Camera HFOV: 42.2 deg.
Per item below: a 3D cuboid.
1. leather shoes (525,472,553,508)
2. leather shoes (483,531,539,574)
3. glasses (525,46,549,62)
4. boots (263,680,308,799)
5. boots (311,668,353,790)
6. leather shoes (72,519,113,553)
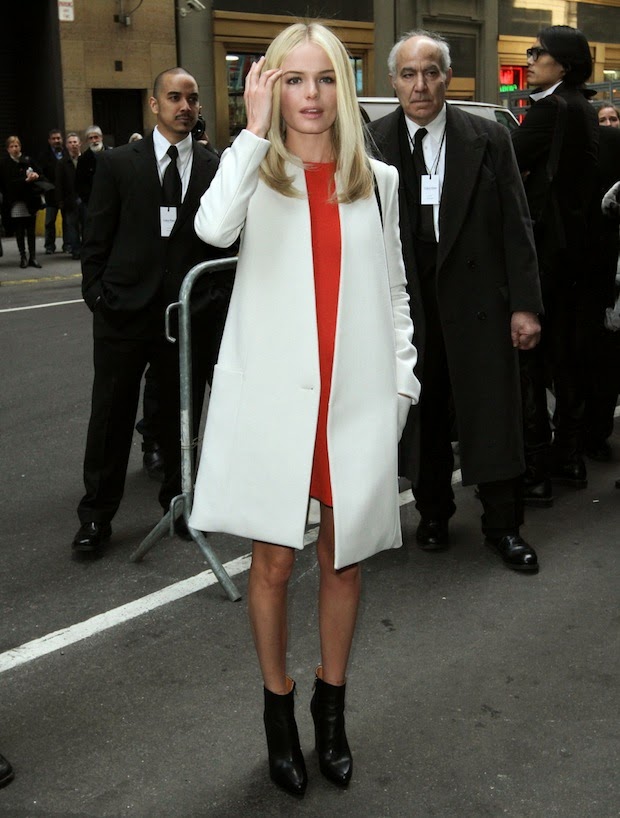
[{"bbox_3d":[1.217,0.449,4.413,0.093,0.165,0.232,-9,14,-38],"label":"leather shoes"},{"bbox_3d":[0.899,0.629,3.587,0.096,0.117,0.270,-7,14,-16],"label":"leather shoes"},{"bbox_3d":[1.185,-1.861,4.171,0.099,0.033,0.095,7,20,-10],"label":"glasses"},{"bbox_3d":[-0.051,0.799,1.942,0.093,0.258,0.127,-3,9,-21],"label":"boots"},{"bbox_3d":[0.058,0.793,2.034,0.106,0.253,0.207,0,9,-2],"label":"boots"},{"bbox_3d":[-1.036,0.609,3.784,0.087,0.100,0.220,1,0,5],"label":"leather shoes"}]
